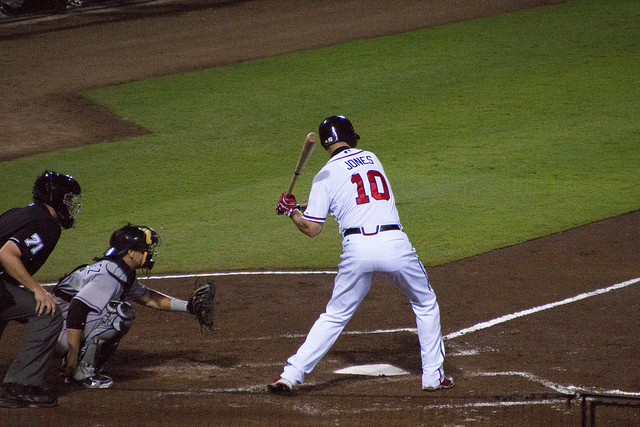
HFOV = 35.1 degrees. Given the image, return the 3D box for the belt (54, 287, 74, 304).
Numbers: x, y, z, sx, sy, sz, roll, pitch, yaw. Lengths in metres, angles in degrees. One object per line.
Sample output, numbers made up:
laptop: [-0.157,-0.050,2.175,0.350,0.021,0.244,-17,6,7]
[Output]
belt: [-3.232,1.040,12.738,0.227,0.069,0.207,21,-9,-17]

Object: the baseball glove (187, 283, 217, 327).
baseball glove: [-1.444,1.179,13.005,0.340,0.541,0.357,-10,6,22]

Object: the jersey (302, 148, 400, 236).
jersey: [0.341,-0.243,12.448,1.067,0.909,0.782,-9,29,1]
